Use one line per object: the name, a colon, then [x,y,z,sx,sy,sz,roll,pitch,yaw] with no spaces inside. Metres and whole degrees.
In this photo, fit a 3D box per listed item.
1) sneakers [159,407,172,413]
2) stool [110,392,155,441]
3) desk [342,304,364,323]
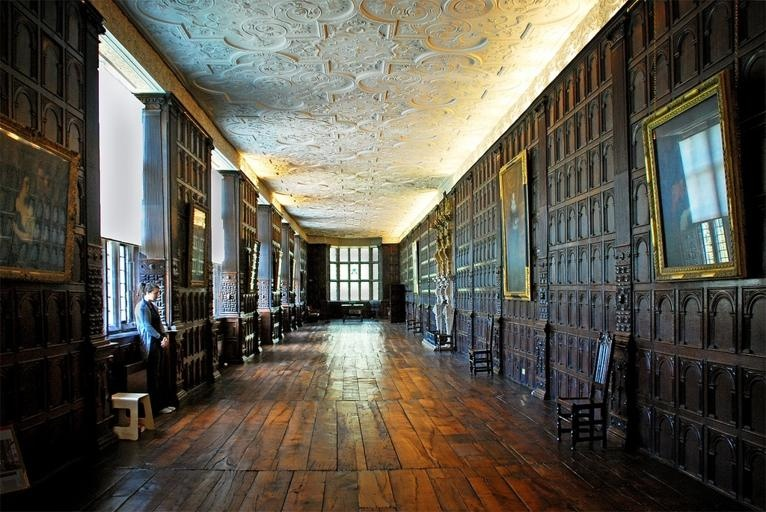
sneakers: [-3.680,2.617,8.068,0.172,0.070,0.067,0,-4,-1]
stool: [-3.642,2.319,7.050,0.553,0.622,0.688,-1,-2,-2]
desk: [-1.867,3.386,28.903,1.195,0.910,0.880,0,-8,-1]
